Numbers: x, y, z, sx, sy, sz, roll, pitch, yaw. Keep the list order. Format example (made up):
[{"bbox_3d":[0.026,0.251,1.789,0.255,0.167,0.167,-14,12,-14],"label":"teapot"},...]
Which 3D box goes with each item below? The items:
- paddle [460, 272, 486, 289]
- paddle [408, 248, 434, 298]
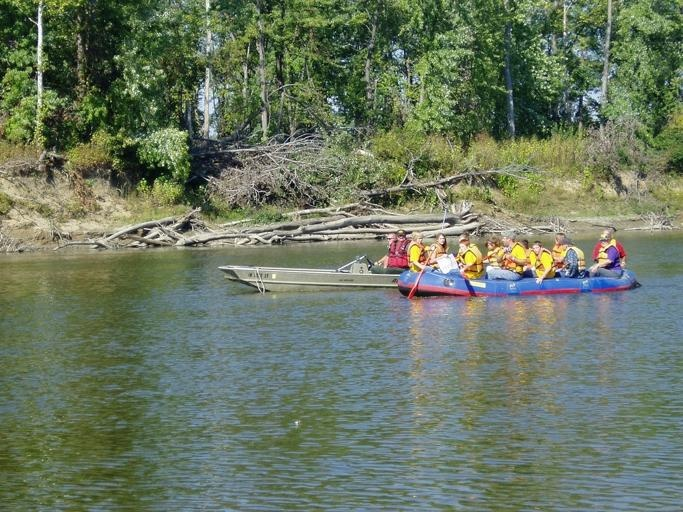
[{"bbox_3d":[4.341,0.804,41.414,0.752,0.228,0.518,5,8,28],"label":"paddle"},{"bbox_3d":[2.658,0.517,41.438,0.343,2.250,0.155,26,-38,9],"label":"paddle"}]
